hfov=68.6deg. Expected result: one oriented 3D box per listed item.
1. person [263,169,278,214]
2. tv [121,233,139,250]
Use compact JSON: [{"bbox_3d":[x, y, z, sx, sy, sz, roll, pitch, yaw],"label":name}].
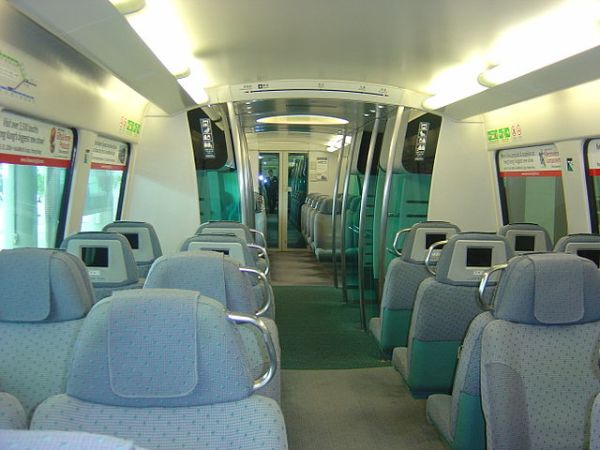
[{"bbox_3d":[-0.863,-0.990,13.073,0.428,1.290,0.143,1,5,-6],"label":"person"},{"bbox_3d":[-1.824,0.170,4.708,0.199,0.223,0.024,0,15,1],"label":"tv"}]
